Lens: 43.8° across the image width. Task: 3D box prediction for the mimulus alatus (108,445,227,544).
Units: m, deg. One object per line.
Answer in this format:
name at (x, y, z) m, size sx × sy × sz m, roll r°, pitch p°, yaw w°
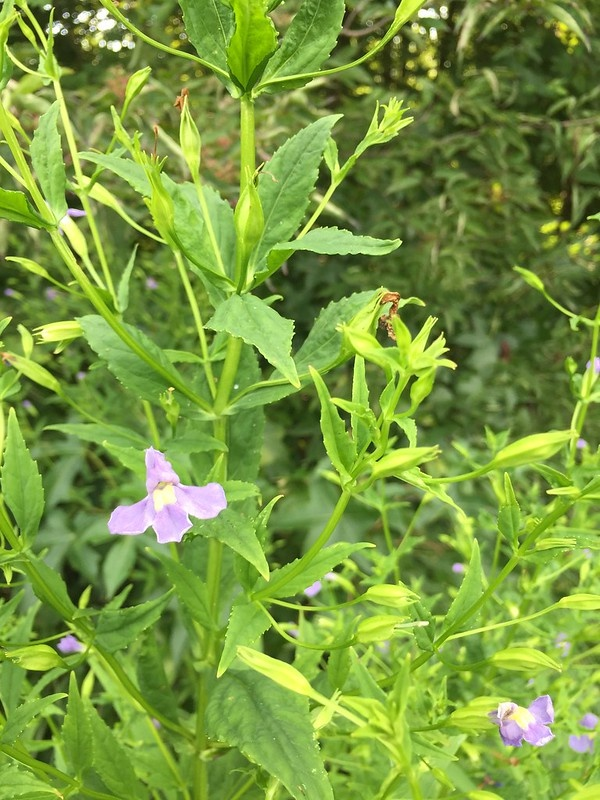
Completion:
mimulus alatus at (-0.091, 0.067, 0.545) m, size 0.088 × 0.066 × 0.079 m, roll -2°, pitch 21°, yaw -8°
